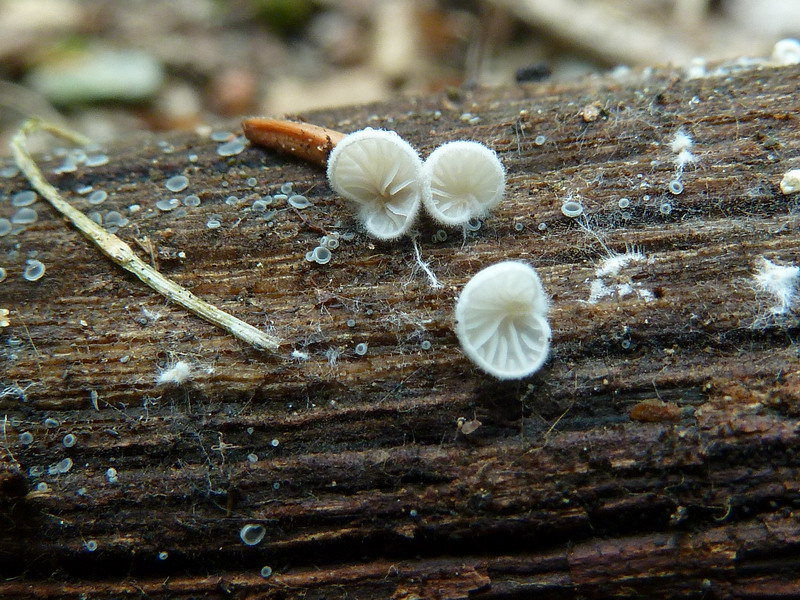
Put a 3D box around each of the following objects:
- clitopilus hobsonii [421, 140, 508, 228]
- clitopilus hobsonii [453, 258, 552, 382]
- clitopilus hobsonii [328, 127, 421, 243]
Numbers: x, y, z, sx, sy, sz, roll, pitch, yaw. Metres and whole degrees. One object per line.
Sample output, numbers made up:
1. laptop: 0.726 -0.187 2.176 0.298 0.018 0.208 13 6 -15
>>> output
1. clitopilus hobsonii: 0.462 -0.837 6.552 0.588 0.606 0.221 0 8 5
2. clitopilus hobsonii: 0.736 0.160 6.307 0.814 0.755 0.300 42 -7 -14
3. clitopilus hobsonii: -0.181 -0.832 6.594 0.688 0.794 0.266 -1 8 -1
